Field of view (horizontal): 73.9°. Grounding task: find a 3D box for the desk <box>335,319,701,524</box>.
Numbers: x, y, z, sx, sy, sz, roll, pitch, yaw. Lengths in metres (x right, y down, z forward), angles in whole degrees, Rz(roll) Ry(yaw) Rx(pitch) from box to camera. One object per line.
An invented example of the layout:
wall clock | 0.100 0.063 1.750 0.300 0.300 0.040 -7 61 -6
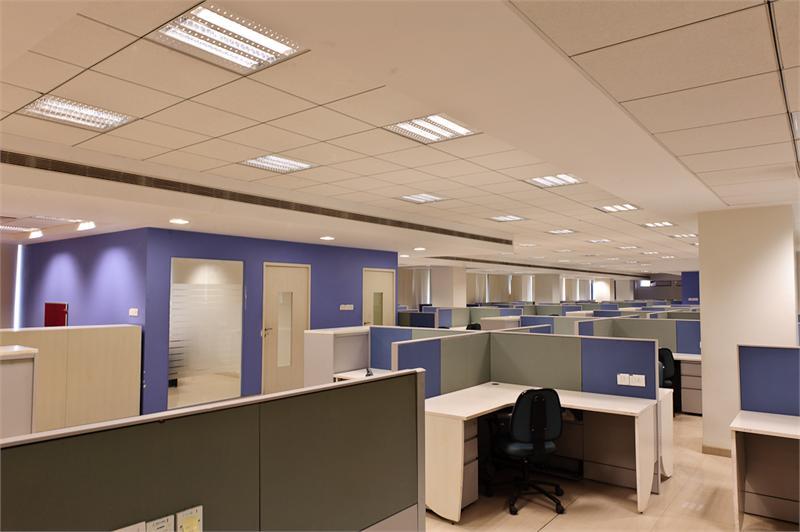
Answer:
desk | 1.368 1.243 5.422 2.238 1.317 2.068 -5 -11 37
